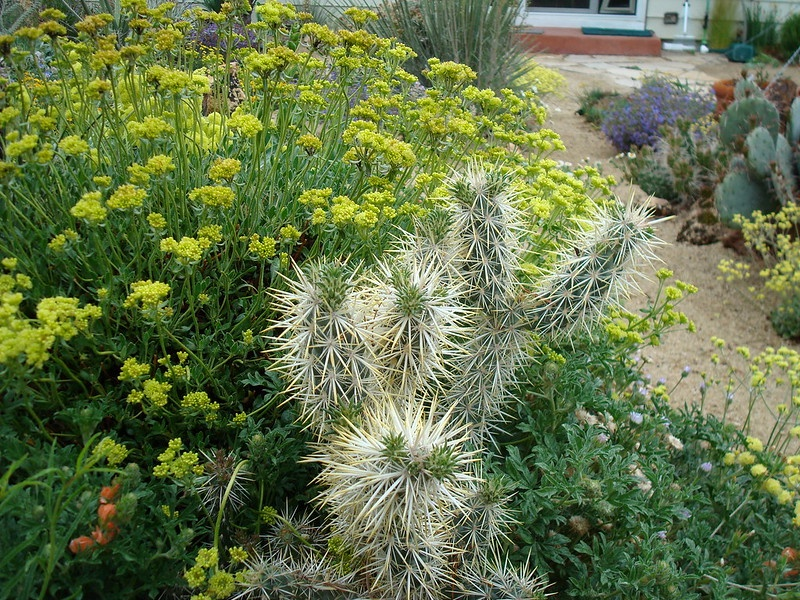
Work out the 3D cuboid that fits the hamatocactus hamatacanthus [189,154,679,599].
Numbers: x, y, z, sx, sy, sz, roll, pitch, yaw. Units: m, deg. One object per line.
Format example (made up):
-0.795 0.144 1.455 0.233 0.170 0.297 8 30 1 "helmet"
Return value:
0.147 0.412 3.935 2.259 2.913 1.864 1 -6 5 "hamatocactus hamatacanthus"
